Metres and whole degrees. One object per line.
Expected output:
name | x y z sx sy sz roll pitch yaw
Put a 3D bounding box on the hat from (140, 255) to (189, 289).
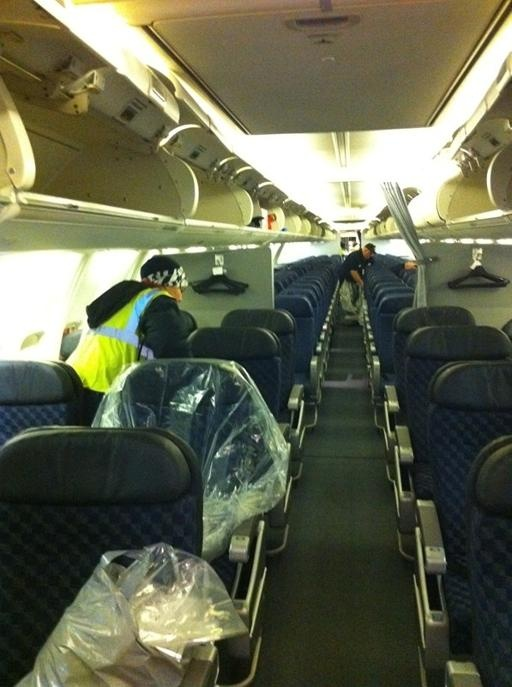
hat | -0.518 -0.389 2.853 0.226 0.196 0.164 -5 3 -40
